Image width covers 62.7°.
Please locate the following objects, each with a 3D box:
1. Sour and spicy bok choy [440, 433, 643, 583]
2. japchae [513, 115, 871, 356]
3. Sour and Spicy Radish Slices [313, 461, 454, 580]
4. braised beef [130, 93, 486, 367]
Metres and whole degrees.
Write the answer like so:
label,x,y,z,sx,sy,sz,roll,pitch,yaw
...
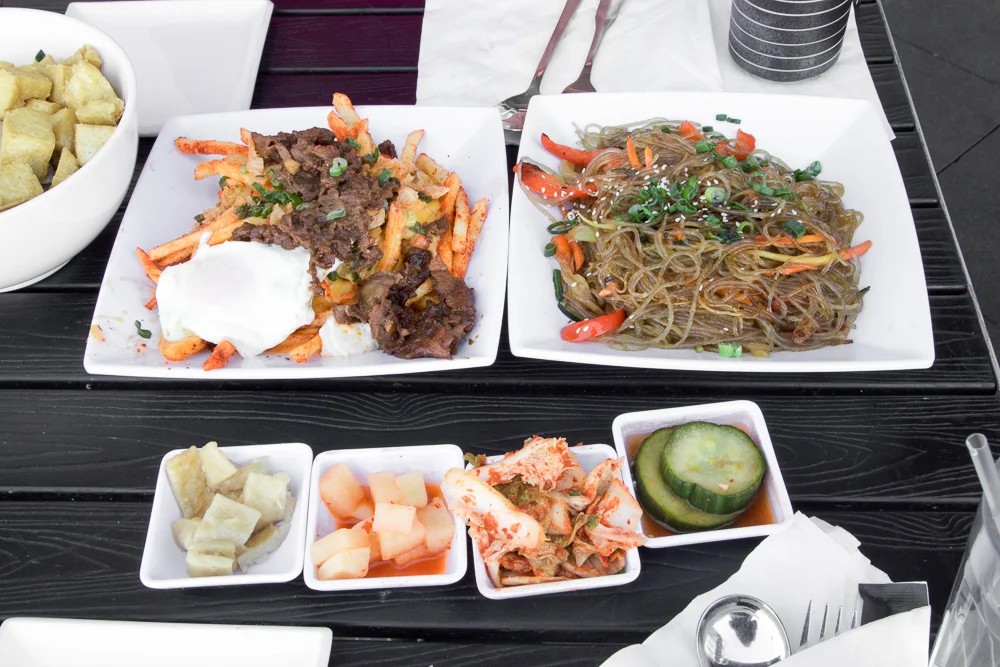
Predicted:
label,x,y,z,sx,sy,sz,roll,pitch,yaw
Sour and spicy bok choy,0.103,0.470,2.161,0.470,0.221,0.368,-10,66,-6
japchae,0.616,-0.278,2.562,0.834,0.285,0.848,1,65,2
Sour and Spicy Radish Slices,-0.306,0.508,2.206,0.360,0.115,0.272,-2,65,-4
braised beef,-0.495,-0.375,2.882,1.396,0.790,1.064,0,34,2
